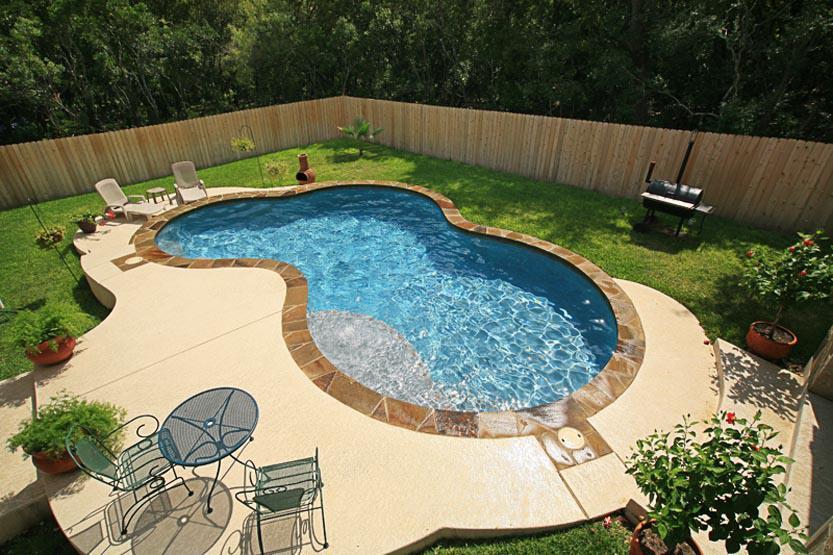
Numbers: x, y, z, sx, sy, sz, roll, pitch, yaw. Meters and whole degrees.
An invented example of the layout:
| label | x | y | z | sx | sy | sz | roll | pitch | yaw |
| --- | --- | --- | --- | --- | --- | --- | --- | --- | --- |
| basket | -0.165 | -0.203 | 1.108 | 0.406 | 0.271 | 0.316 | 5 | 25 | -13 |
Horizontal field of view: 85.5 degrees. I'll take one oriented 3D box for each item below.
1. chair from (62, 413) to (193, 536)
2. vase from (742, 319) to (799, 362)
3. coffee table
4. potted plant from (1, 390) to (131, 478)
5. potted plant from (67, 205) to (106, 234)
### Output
| label | x | y | z | sx | sy | sz | roll | pitch | yaw |
| --- | --- | --- | --- | --- | --- | --- | --- | --- | --- |
| chair | -5.732 | 3.991 | 8.916 | 1.242 | 1.763 | 1.160 | -20 | 53 | -20 |
| vase | 8.559 | 1.546 | 11.018 | 0.991 | 0.714 | 1.007 | 15 | 31 | 24 |
| coffee table | -4.246 | 3.767 | 9.651 | 2.144 | 1.675 | 2.074 | -19 | 45 | -27 |
| potted plant | -7.219 | 3.042 | 9.266 | 1.817 | 1.056 | 1.833 | 14 | 29 | -6 |
| potted plant | -11.661 | -2.035 | 15.945 | 0.958 | 0.883 | 0.934 | 8 | 30 | -12 |
